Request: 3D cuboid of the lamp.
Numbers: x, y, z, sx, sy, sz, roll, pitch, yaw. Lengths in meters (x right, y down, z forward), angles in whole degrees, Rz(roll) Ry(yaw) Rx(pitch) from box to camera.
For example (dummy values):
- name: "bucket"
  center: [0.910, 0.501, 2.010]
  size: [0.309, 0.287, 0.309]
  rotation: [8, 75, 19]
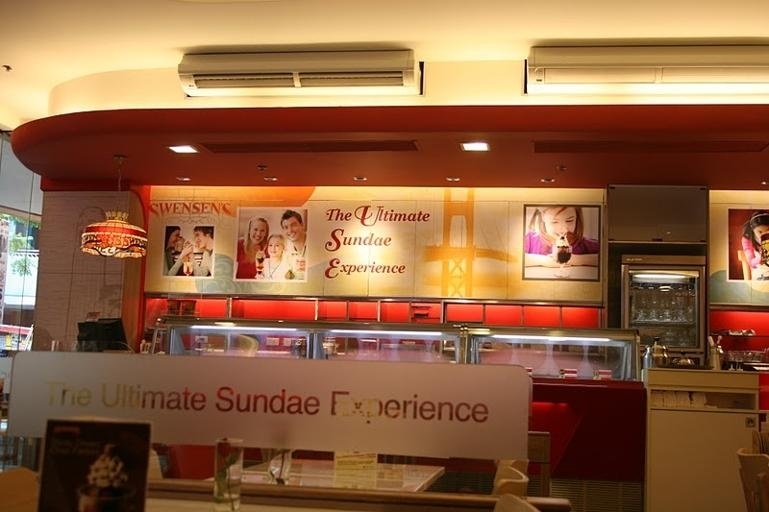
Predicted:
- name: "lamp"
  center: [-2.856, -0.564, 6.785]
  size: [0.594, 0.883, 0.555]
  rotation: [5, 1, -7]
